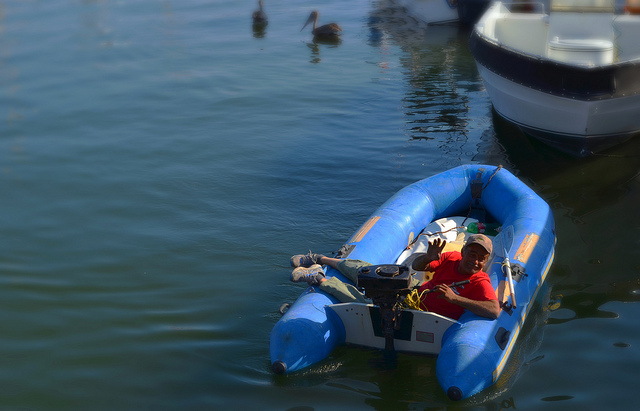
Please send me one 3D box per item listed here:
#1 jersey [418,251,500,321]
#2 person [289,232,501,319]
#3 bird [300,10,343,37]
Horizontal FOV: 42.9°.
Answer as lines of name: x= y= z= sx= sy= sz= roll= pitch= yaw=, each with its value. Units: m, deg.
jersey: x=2.276 y=1.326 z=13.548 sx=1.275 sy=1.016 sz=0.673 roll=7 pitch=30 yaw=13
person: x=1.251 y=1.134 z=13.478 sx=3.315 sy=0.399 sz=1.495 roll=-4 pitch=23 yaw=-6
bird: x=0.061 y=-5.728 z=25.853 sx=1.457 sy=0.808 sz=0.508 roll=2 pitch=14 yaw=35
